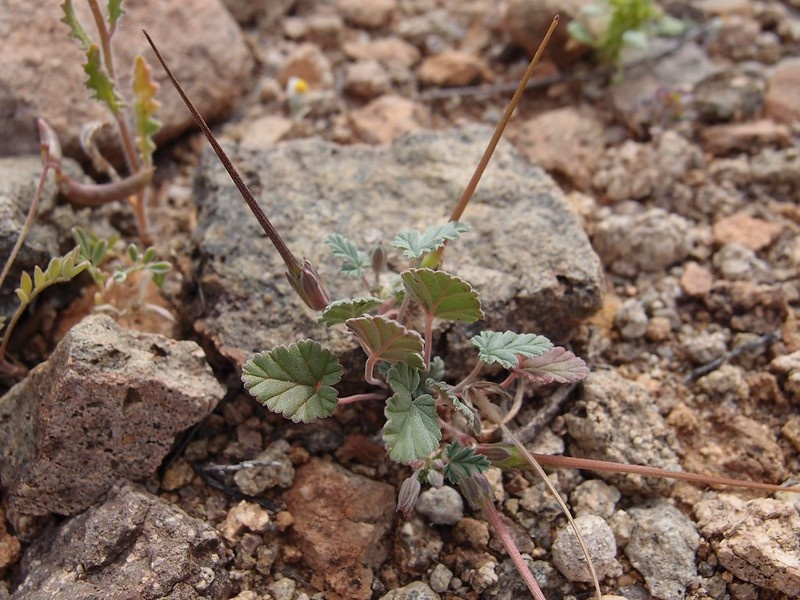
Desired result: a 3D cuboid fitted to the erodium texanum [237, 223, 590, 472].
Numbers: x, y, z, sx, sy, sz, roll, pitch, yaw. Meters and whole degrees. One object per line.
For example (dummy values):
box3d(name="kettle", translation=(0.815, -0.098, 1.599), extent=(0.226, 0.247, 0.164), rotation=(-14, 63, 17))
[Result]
box3d(name="erodium texanum", translation=(-0.019, 0.206, 2.848), extent=(0.799, 0.583, 1.058), rotation=(4, 31, -13))
